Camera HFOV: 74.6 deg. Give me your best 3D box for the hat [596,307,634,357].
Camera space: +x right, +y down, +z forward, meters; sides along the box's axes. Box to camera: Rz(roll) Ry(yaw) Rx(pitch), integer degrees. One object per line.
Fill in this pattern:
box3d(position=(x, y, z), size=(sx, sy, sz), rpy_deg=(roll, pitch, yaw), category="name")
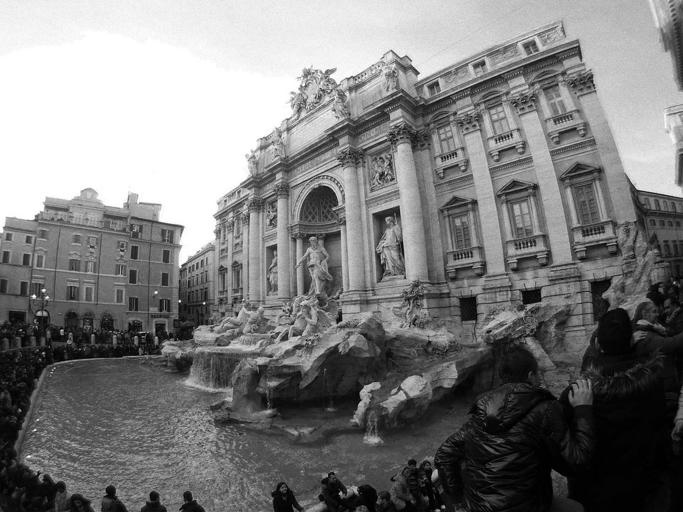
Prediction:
box3d(position=(3.595, 0.988, 5.942), size=(0.399, 0.675, 0.355), rpy_deg=(-1, 0, -40), category="hat")
